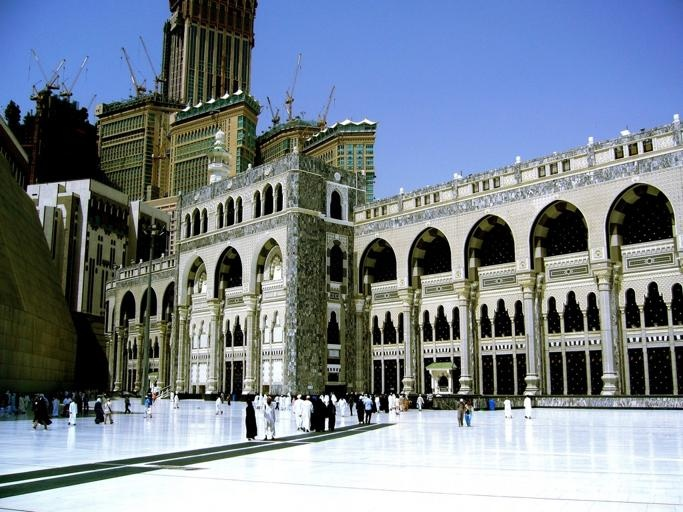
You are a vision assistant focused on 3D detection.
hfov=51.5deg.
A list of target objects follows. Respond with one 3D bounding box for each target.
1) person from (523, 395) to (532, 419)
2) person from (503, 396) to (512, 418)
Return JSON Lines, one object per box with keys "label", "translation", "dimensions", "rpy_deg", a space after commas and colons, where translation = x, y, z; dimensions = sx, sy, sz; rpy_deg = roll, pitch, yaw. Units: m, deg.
{"label": "person", "translation": [8.498, 6.956, 32.269], "dimensions": [0.282, 1.049, 1.273], "rpy_deg": [-4, -16, 11]}
{"label": "person", "translation": [7.765, 7.168, 33.005], "dimensions": [0.305, 0.897, 1.033], "rpy_deg": [-4, -16, 10]}
